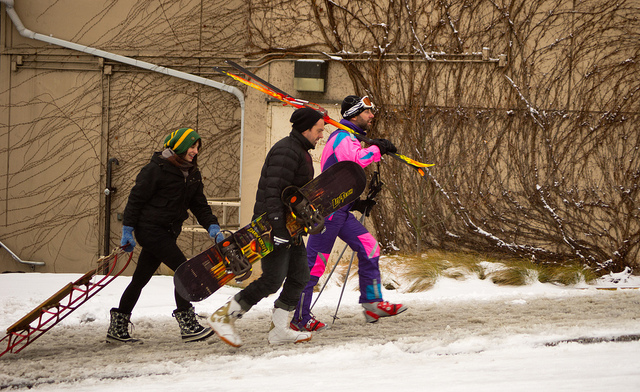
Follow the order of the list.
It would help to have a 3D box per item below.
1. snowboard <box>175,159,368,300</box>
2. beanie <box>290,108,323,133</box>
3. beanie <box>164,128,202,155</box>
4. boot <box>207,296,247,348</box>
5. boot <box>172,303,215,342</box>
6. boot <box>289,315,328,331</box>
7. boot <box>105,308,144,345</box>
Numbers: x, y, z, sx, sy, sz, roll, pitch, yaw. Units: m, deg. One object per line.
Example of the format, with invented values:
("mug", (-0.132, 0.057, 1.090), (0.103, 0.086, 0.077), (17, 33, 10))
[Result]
("snowboard", (-0.584, 0.483, 9.927), (2.717, 0.563, 0.584), (-34, -15, -21))
("beanie", (-0.181, -0.961, 9.940), (0.323, 0.259, 0.253), (-31, 22, 6))
("beanie", (-1.756, -0.699, 10.222), (0.495, 0.352, 0.374), (3, 11, -2))
("boot", (-1.145, 1.547, 9.829), (0.462, 0.628, 0.376), (2, -1, 4))
("boot", (-1.611, 1.616, 10.225), (0.467, 0.462, 0.210), (-7, -1, -8))
("boot", (-0.139, 1.620, 10.313), (0.510, 0.221, 0.166), (-3, 7, -10))
("boot", (-2.485, 1.659, 10.271), (0.431, 0.458, 0.387), (4, -1, -35))
